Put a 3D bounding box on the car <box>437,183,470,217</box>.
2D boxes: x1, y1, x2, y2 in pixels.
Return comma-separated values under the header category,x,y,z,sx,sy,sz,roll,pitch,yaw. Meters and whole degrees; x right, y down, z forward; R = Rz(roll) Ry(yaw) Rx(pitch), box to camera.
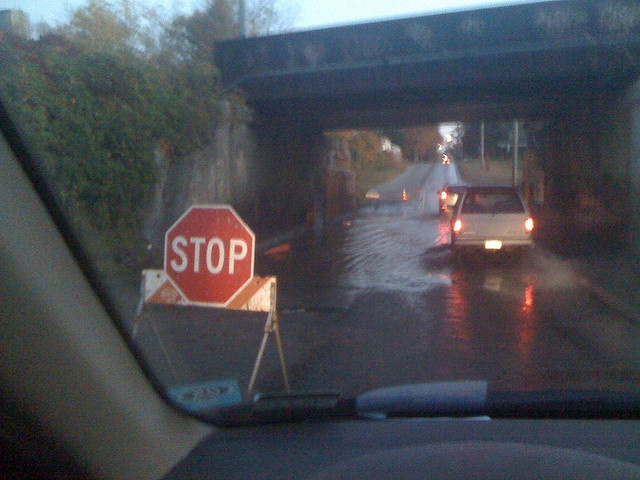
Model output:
category,x,y,z,sx,sy,sz,roll,pitch,yaw
car,5.933,-1.629,31.846,1.318,1.166,2.312,1,14,9
